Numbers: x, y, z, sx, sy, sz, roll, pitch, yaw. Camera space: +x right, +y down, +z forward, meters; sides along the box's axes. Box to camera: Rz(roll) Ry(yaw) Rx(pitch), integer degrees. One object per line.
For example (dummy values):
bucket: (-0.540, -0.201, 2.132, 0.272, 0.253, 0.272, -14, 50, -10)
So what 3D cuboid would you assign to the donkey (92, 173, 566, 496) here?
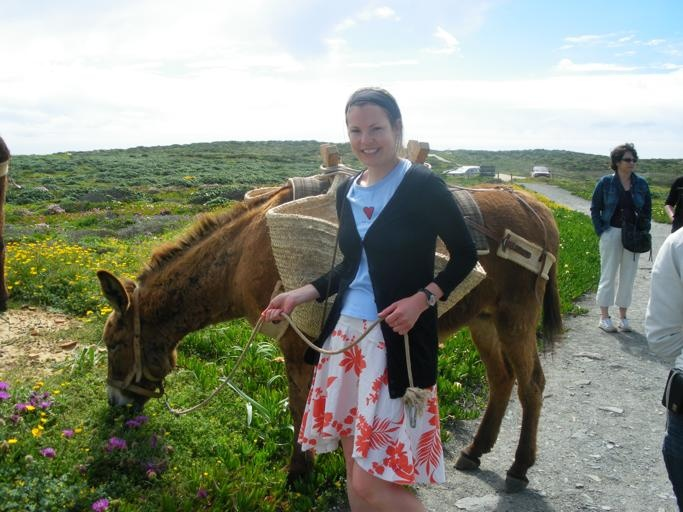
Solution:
donkey: (-0.100, 0.870, 4.454, 4.271, 2.957, 1.104, -4, 8, 0)

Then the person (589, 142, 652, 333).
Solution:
person: (4.345, -0.285, 7.172, 0.913, 2.762, 0.780, 3, 3, 44)

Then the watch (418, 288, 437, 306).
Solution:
watch: (0.486, 0.207, 2.593, 0.068, 0.116, 0.104, -32, 39, -30)
